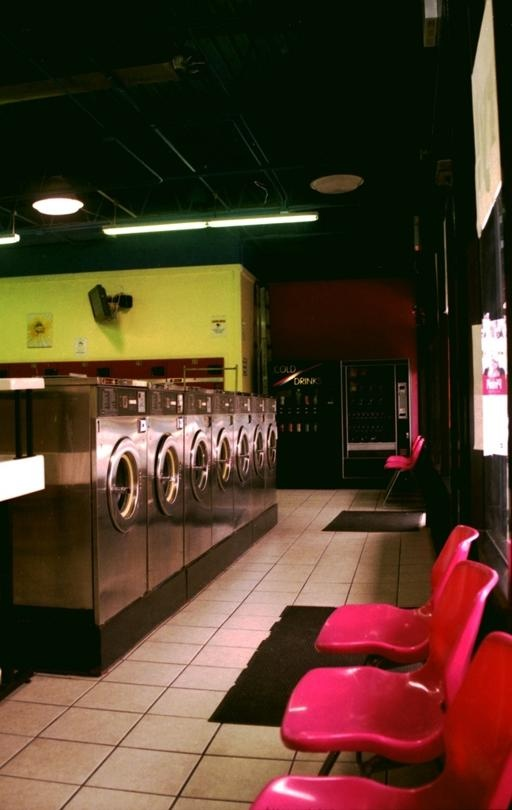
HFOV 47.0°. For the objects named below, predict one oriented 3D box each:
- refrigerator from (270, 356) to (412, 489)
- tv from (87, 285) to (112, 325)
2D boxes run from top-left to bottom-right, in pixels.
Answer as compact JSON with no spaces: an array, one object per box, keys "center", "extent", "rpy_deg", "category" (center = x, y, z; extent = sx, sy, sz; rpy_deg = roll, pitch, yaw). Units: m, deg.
[{"center":[1.447,0.339,9.650],"extent":[1.444,1.959,0.662],"rpy_deg":[-1,-4,12],"category":"refrigerator"},{"center":[-2.493,-1.611,9.502],"extent":[0.109,0.580,0.497],"rpy_deg":[-7,14,-25],"category":"tv"}]
